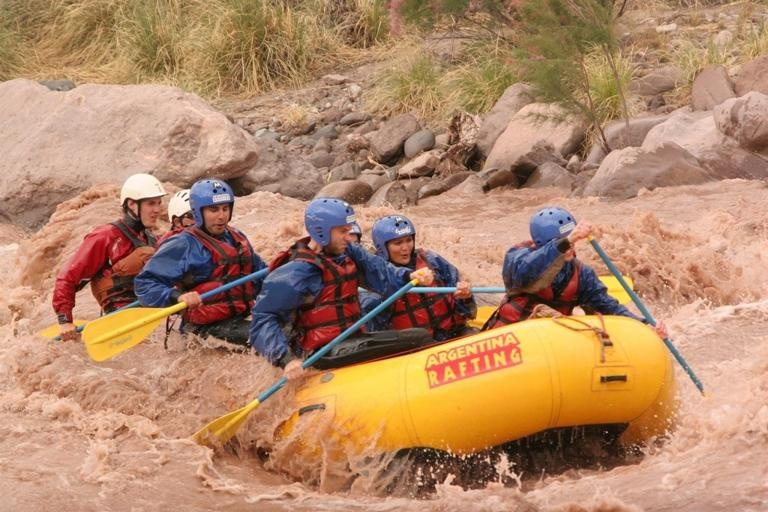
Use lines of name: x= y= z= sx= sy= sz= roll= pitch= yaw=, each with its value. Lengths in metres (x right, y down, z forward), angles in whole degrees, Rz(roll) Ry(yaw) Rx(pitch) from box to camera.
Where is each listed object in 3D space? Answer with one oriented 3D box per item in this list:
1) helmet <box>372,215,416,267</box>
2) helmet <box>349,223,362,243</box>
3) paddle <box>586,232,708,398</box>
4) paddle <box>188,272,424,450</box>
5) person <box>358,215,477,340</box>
helmet: x=0.088 y=-0.258 z=12.730 sx=0.583 sy=0.462 sz=0.427 roll=-1 pitch=-1 yaw=39
helmet: x=-0.358 y=-0.273 z=12.883 sx=0.165 sy=0.210 sz=0.189 roll=-2 pitch=21 yaw=-13
paddle: x=3.223 y=0.787 z=12.764 sx=0.203 sy=0.544 sz=2.739 roll=2 pitch=41 yaw=-46
paddle: x=-0.825 y=1.272 z=12.087 sx=2.789 sy=0.109 sz=0.500 roll=-34 pitch=55 yaw=-7
person: x=0.365 y=0.300 z=12.756 sx=1.272 sy=1.538 sz=0.668 roll=-17 pitch=-4 yaw=-24
